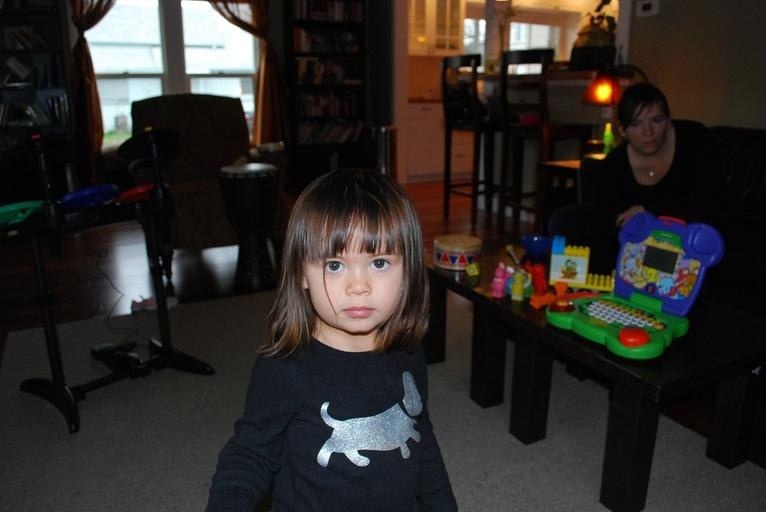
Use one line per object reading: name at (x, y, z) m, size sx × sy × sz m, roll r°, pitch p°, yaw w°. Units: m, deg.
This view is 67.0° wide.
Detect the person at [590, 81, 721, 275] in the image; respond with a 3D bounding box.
person at (1.307, -0.362, 2.928) m, size 0.675 × 0.958 × 0.649 m, roll -6°, pitch 17°, yaw 25°

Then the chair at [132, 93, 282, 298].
chair at (-1.295, -0.552, 4.337) m, size 1.029 × 1.436 × 0.842 m, roll -7°, pitch 7°, yaw -17°

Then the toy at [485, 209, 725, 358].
toy at (0.812, 0.066, 2.132) m, size 0.725 × 0.420 × 0.485 m, roll 8°, pitch 20°, yaw 29°

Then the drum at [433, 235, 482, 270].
drum at (0.308, -0.040, 2.530) m, size 0.163 × 0.088 × 0.163 m, roll 0°, pitch 13°, yaw 0°
